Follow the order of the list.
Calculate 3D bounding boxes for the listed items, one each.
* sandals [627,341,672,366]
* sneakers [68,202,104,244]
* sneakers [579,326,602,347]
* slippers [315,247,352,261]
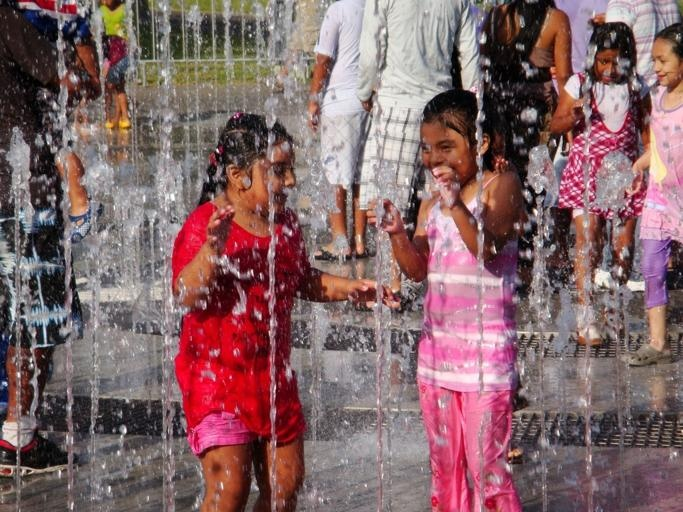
[{"bbox_3d":[2.061,0.647,7.310,0.298,0.164,0.133,0,1,-5],"label":"sandals"},{"bbox_3d":[-1.440,-0.196,6.155,0.124,0.275,0.097,24,4,17],"label":"sneakers"},{"bbox_3d":[1.709,0.549,7.446,0.155,0.123,0.283,0,4,-1],"label":"sneakers"},{"bbox_3d":[-0.073,-0.014,9.578,0.282,0.101,0.139,3,11,-7],"label":"slippers"}]
